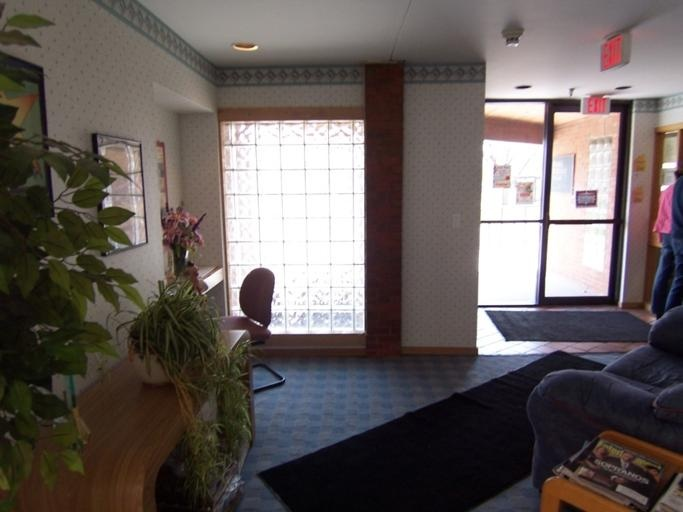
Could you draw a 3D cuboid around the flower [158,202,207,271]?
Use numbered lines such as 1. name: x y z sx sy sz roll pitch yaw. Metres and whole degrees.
1. flower: -1.328 -0.115 4.213 0.248 0.522 0.307 3 13 16
